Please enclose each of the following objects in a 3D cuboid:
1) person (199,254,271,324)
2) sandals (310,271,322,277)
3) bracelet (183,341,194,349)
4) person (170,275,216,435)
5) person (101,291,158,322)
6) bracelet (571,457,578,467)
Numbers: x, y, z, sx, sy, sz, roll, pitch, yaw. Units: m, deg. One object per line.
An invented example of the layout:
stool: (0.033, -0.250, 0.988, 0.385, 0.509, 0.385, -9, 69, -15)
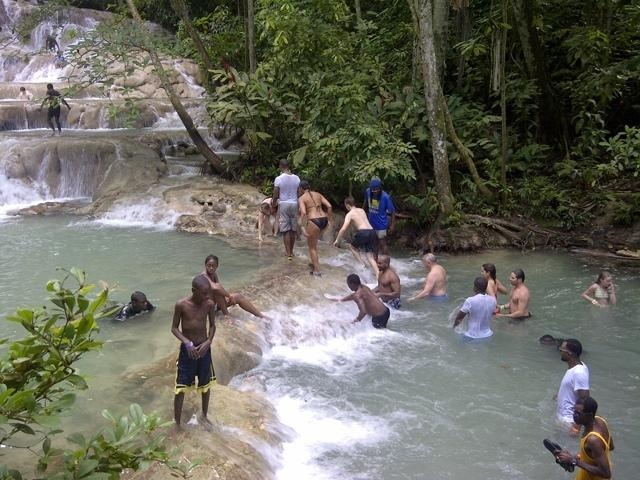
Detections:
person: (-1.423, 0.793, 8.531, 1.312, 0.866, 0.429, 13, 8, 10)
sandals: (-0.090, 0.667, 10.225, 0.250, 0.114, 0.179, 0, 7, 31)
bracelet: (-1.492, 1.178, 5.851, 0.121, 0.090, 0.049, -4, 6, -6)
person: (-1.463, 1.279, 5.976, 0.557, 1.752, 0.265, -5, 7, -17)
person: (-3.145, 1.066, 8.637, 0.741, 0.448, 0.486, -5, 6, -19)
bracelet: (2.688, 2.342, 5.484, 0.067, 0.101, 0.089, -1, -15, 6)
